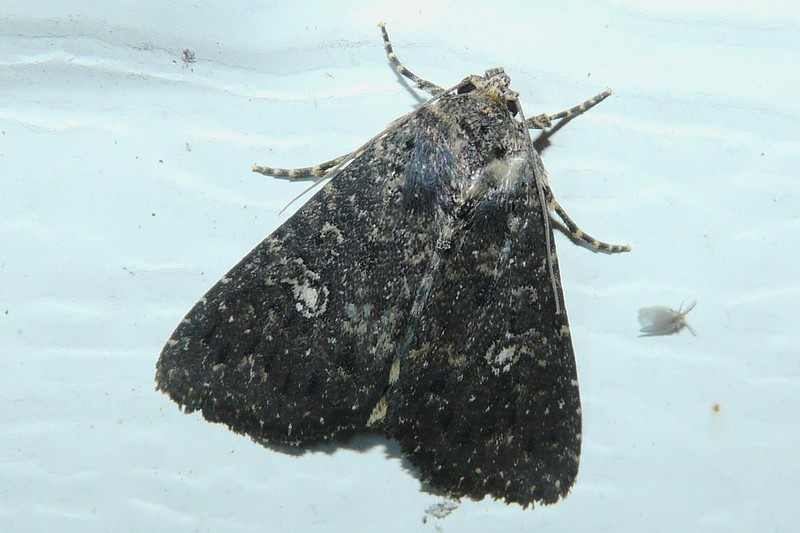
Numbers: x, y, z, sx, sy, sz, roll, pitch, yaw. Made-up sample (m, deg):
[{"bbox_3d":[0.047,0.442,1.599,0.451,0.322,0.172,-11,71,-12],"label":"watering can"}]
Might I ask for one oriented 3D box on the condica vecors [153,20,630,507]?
[{"bbox_3d":[0.084,0.061,6.150,2.251,2.371,0.510,17,4,4],"label":"condica vecors"}]
